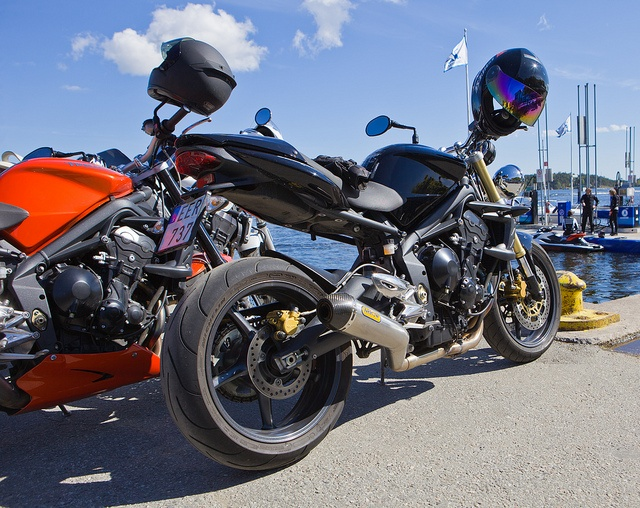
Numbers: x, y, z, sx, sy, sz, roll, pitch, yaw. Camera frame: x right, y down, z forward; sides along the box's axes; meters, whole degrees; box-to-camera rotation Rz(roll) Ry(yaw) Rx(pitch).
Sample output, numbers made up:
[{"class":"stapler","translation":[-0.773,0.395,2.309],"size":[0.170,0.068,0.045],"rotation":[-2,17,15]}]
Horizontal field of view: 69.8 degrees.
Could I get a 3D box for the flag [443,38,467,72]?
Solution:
[{"class":"flag","translation":[7.416,-10.873,24.777],"size":[1.169,1.629,0.832],"rotation":[-3,7,-4]}]
